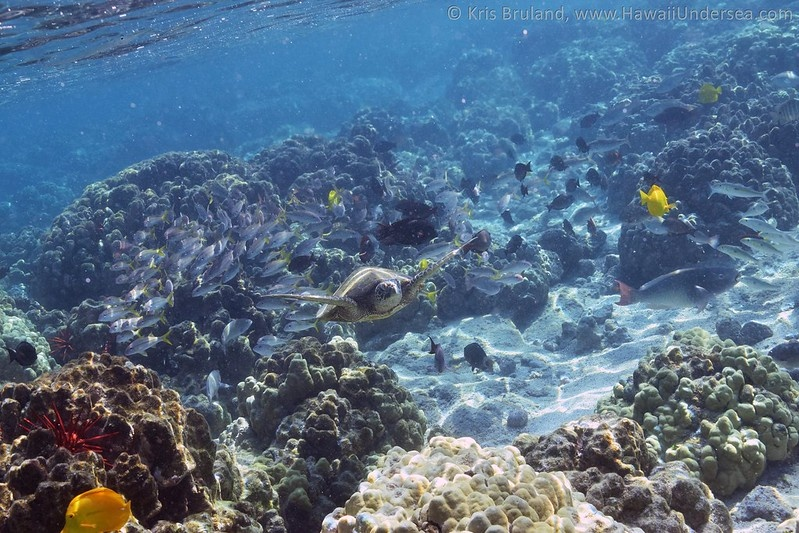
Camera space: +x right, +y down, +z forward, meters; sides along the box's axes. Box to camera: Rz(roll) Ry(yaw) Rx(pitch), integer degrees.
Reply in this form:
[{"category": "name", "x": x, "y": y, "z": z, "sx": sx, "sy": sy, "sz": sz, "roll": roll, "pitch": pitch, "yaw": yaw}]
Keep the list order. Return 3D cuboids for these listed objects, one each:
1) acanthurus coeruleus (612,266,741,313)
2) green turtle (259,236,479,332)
[{"category": "acanthurus coeruleus", "x": 11.089, "y": 0.846, "z": 29.014, "sx": 5.424, "sy": 2.113, "sz": 1.657, "roll": -9, "pitch": 8, "yaw": 7}, {"category": "green turtle", "x": -0.933, "y": 0.813, "z": 23.745, "sx": 4.474, "sy": 1.630, "sz": 0.860, "roll": -19, "pitch": 30, "yaw": 2}]
